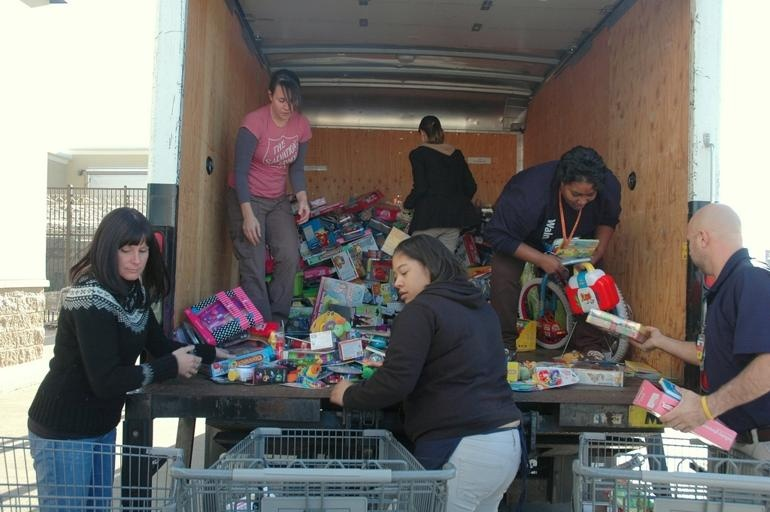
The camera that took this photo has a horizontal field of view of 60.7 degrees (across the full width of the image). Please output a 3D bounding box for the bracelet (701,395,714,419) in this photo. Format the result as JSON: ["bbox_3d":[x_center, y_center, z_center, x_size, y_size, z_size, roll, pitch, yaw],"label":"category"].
[{"bbox_3d":[1.706,0.800,3.477,0.028,0.100,0.104,-8,9,4],"label":"bracelet"}]
